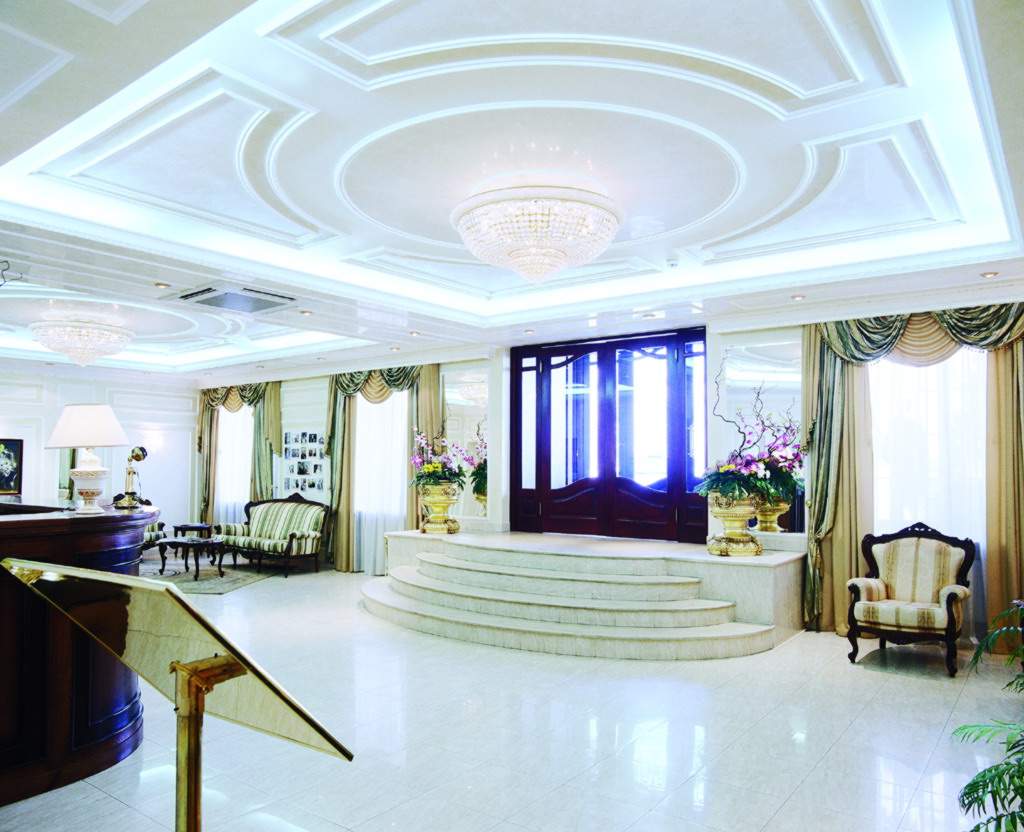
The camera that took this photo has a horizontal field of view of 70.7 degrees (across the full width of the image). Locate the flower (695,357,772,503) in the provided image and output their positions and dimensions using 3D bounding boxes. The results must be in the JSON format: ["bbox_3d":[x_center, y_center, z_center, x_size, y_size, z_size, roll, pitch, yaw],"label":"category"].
[{"bbox_3d":[2.273,0.257,7.086,0.674,1.270,0.889,3,-13,11],"label":"flower"}]

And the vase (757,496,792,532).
[{"bbox_3d":[2.597,0.971,7.167,0.321,0.250,0.338,0,-2,25],"label":"vase"}]

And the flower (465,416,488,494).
[{"bbox_3d":[-0.451,0.687,9.430,0.280,0.744,0.590,0,-2,-4],"label":"flower"}]

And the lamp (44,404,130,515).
[{"bbox_3d":[-2.667,0.278,4.562,0.628,0.648,0.656,-7,-7,32],"label":"lamp"}]

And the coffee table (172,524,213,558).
[{"bbox_3d":[-4.871,1.908,11.018,0.491,0.232,0.713,0,0,-35],"label":"coffee table"}]

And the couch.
[{"bbox_3d":[-3.562,1.732,10.630,1.822,1.078,0.845,-1,-10,30],"label":"couch"}]

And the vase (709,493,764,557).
[{"bbox_3d":[2.055,1.042,6.962,0.511,0.622,0.533,1,-8,-1],"label":"vase"}]

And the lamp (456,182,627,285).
[{"bbox_3d":[0.207,-1.255,5.189,1.094,0.453,1.191,3,5,16],"label":"lamp"}]

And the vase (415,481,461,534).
[{"bbox_3d":[-1.043,1.147,9.092,0.597,0.703,0.593,-3,-5,44],"label":"vase"}]

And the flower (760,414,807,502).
[{"bbox_3d":[2.602,0.429,6.955,0.413,0.834,0.701,-1,-2,23],"label":"flower"}]

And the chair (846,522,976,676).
[{"bbox_3d":[3.224,1.423,5.826,0.870,1.044,0.819,-1,-2,33],"label":"chair"}]
